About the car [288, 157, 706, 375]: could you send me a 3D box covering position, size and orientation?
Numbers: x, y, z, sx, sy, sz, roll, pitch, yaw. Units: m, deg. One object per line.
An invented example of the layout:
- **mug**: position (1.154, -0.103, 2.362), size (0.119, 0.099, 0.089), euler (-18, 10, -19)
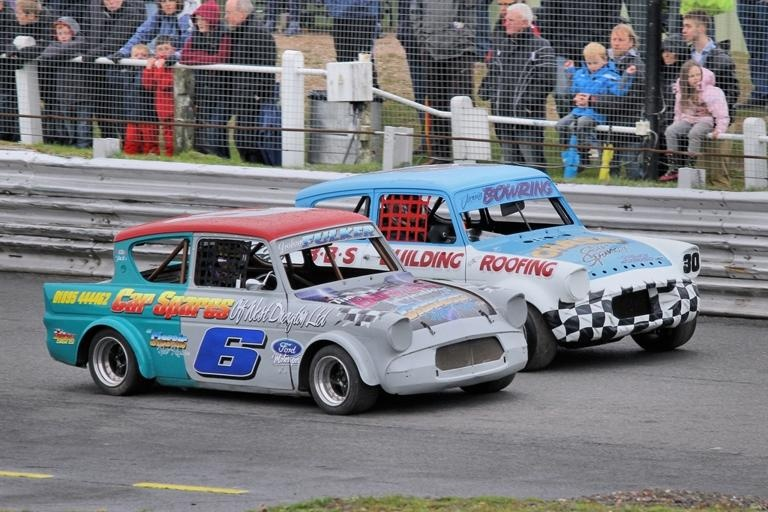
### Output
- **car**: position (0.975, -0.060, 15.206), size (4.445, 1.325, 2.556), euler (10, 19, 33)

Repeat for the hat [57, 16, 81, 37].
- **hat**: position (-4.293, -3.092, 18.243), size (0.383, 0.239, 0.246), euler (-12, 7, -16)

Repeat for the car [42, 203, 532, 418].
- **car**: position (-0.940, 0.495, 13.353), size (4.309, 1.789, 1.430), euler (3, 9, 23)
